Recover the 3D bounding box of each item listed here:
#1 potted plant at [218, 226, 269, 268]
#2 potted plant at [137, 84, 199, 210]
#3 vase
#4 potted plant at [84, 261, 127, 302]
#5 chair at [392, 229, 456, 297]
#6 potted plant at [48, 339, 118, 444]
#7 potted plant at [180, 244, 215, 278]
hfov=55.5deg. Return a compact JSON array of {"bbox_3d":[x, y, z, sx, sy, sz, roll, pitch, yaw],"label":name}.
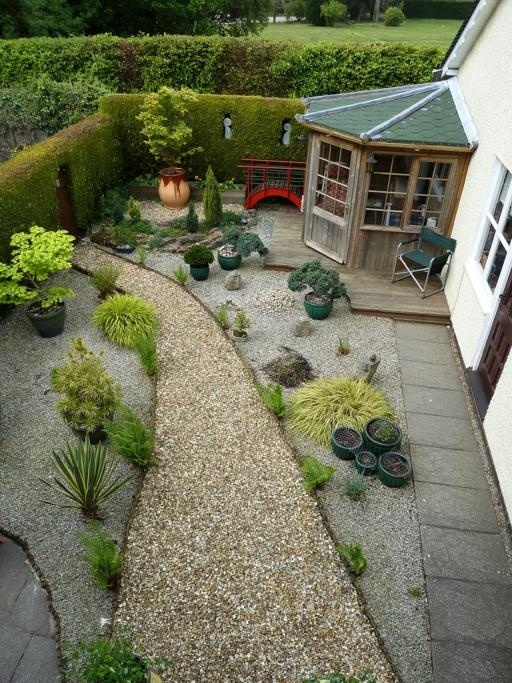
[{"bbox_3d":[-0.278,-1.782,9.322,0.879,0.716,0.800,-12,35,-14],"label":"potted plant"},{"bbox_3d":[-2.058,-4.746,11.950,1.426,2.648,1.474,-3,34,-6],"label":"potted plant"},{"bbox_3d":[1.289,1.280,5.404,0.715,0.249,0.682,-36,58,-24],"label":"vase"},{"bbox_3d":[-2.556,-0.983,8.350,0.430,0.522,0.540,-28,44,-36],"label":"potted plant"},{"bbox_3d":[2.986,-1.393,8.570,0.613,0.931,0.724,-34,53,-18],"label":"chair"},{"bbox_3d":[-1.940,0.665,5.587,0.727,1.090,1.023,-4,35,-9],"label":"potted plant"},{"bbox_3d":[-1.062,-1.429,8.987,0.494,0.650,0.431,-4,35,-9],"label":"potted plant"}]
